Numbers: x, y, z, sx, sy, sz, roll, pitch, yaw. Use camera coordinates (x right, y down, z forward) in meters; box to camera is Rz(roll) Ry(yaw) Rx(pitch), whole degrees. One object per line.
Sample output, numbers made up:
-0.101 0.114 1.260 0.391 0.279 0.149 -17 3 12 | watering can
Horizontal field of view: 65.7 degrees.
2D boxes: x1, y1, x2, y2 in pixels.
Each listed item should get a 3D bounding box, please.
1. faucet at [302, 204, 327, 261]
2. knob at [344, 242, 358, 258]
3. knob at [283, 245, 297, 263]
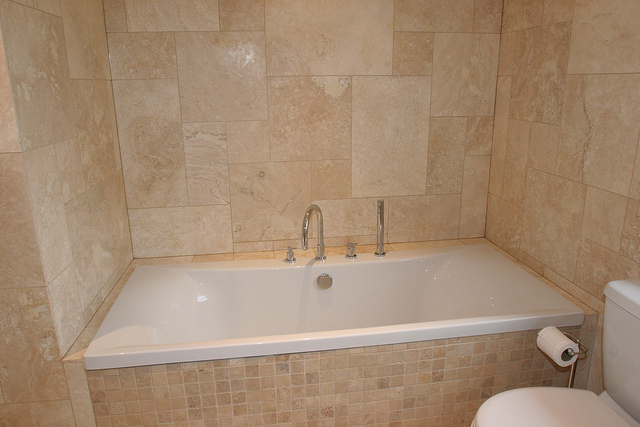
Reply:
-0.044 0.140 3.293 0.094 0.399 0.265 10 18 28 | faucet
0.214 0.263 3.473 0.082 0.085 0.084 0 9 -1 | knob
-0.201 0.275 3.406 0.092 0.118 0.094 2 16 1 | knob
